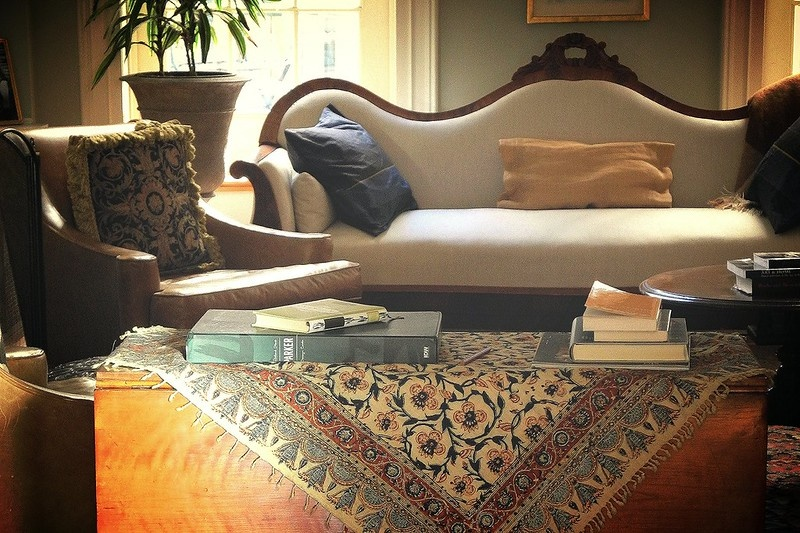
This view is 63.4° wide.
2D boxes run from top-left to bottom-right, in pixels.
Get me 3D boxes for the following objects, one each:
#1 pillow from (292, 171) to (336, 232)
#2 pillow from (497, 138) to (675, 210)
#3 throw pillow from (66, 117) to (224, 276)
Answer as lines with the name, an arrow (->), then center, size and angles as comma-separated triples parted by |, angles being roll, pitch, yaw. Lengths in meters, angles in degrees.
pillow -> -0.422, -0.319, 3.137 | 0.094, 0.197, 0.276 | 8, 7, 15
pillow -> 1.001, -0.497, 3.470 | 0.891, 0.392, 0.178 | 1, 21, 14
throw pillow -> -1.055, -0.243, 2.664 | 0.204, 0.640, 0.653 | 3, 13, 29
